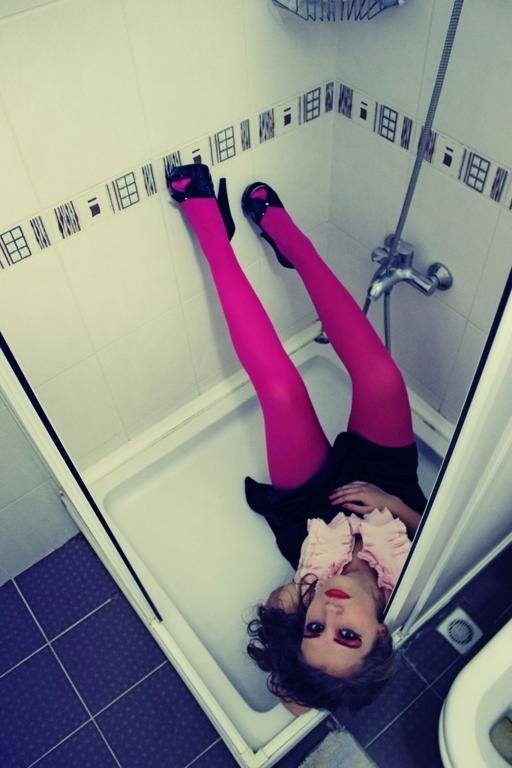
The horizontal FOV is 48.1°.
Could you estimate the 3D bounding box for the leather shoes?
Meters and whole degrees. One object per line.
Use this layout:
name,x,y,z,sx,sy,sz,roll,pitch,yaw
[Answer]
leather shoes,0.036,-0.418,1.530,0.084,0.227,0.059,-37,34,-7

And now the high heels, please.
high heels,-0.124,-0.408,1.261,0.138,0.208,0.075,-6,35,-8

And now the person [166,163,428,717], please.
person,0.188,0.118,1.451,0.513,1.424,0.291,-9,11,4
